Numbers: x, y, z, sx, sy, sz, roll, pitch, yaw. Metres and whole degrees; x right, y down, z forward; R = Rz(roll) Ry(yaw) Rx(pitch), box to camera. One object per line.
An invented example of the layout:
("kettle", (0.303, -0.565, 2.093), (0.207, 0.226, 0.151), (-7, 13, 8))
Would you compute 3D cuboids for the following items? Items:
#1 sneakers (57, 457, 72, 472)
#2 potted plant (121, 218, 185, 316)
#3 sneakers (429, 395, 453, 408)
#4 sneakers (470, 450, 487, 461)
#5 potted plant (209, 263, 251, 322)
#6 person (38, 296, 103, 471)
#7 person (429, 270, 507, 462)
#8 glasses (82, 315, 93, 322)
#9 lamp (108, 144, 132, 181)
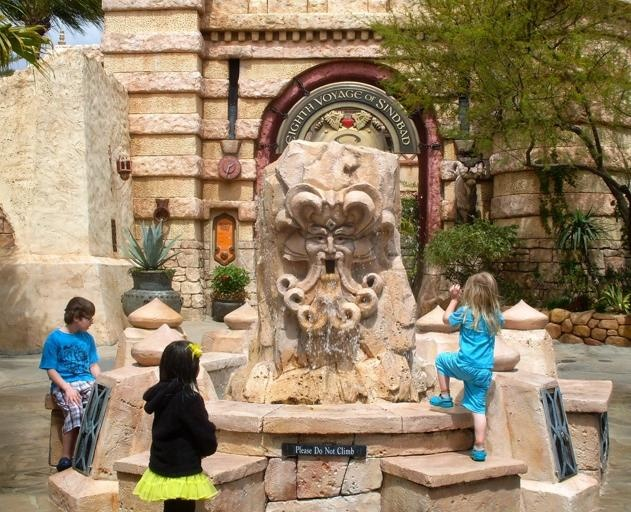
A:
("sneakers", (-2.092, 1.739, 6.249), (0.111, 0.111, 0.152), (2, -3, -22))
("potted plant", (-2.644, 0.362, 11.893), (0.808, 1.606, 0.895), (-4, -3, 25))
("sneakers", (0.985, 1.146, 5.974), (0.153, 0.079, 0.079), (5, 5, 36))
("sneakers", (1.206, 1.478, 5.591), (0.124, 0.081, 0.122), (1, -3, 10))
("potted plant", (-1.768, 0.735, 15.705), (0.939, 1.453, 0.967), (1, 3, 6))
("person", (-2.100, 1.079, 6.398), (0.455, 1.431, 0.300), (2, -2, -21))
("person", (1.152, 0.825, 5.827), (0.500, 1.412, 0.457), (0, -2, 23))
("glasses", (-1.968, 0.552, 6.452), (0.061, 0.074, 0.020), (1, 17, -23))
("lamp", (-3.895, -1.882, 15.046), (0.337, 0.723, 1.212), (1, -3, -6))
